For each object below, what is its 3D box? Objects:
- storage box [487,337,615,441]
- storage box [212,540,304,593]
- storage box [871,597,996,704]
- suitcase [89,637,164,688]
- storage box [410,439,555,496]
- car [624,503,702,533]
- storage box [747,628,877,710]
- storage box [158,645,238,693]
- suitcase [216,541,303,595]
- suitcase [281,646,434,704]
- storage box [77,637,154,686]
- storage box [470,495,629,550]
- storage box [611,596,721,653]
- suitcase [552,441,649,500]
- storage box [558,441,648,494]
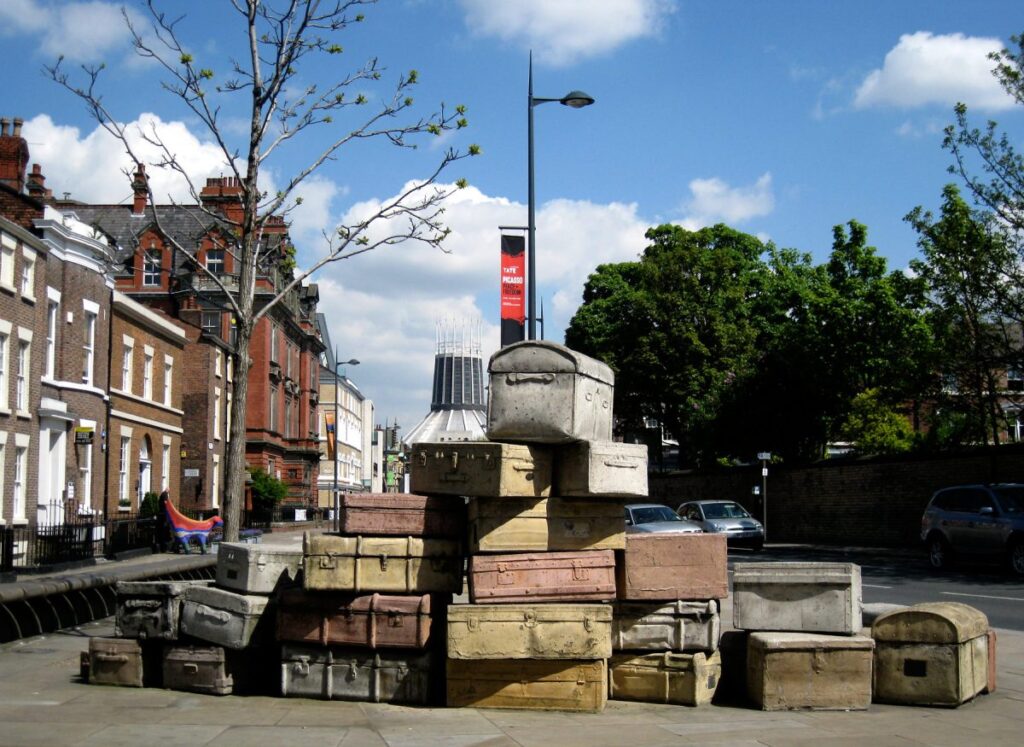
[{"bbox_3d":[0.627,0.342,20.927,1.506,1.360,2.037,1,-6,21],"label":"storage box"},{"bbox_3d":[-3.816,2.847,20.328,0.776,0.476,0.988,1,-5,37],"label":"storage box"},{"bbox_3d":[6.084,4.022,19.561,1.789,1.422,0.862,4,-9,-25],"label":"storage box"},{"bbox_3d":[-5.713,4.269,20.153,0.801,0.612,0.813,1,-5,-2],"label":"suitcase"},{"bbox_3d":[-0.428,1.395,19.617,2.002,0.803,0.746,0,-8,0],"label":"storage box"},{"bbox_3d":[3.634,3.506,33.655,1.102,0.811,2.370,0,-9,-12],"label":"car"},{"bbox_3d":[4.182,4.127,19.458,1.189,0.740,1.199,2,-8,-3],"label":"storage box"},{"bbox_3d":[-4.579,4.336,20.234,1.012,0.657,0.662,4,-8,4],"label":"storage box"},{"bbox_3d":[-3.782,2.872,20.401,0.875,0.427,0.878,2,-2,-5],"label":"suitcase"},{"bbox_3d":[-2.237,4.327,19.628,2.159,0.781,0.191,-1,-8,7],"label":"suitcase"},{"bbox_3d":[-5.832,4.259,20.134,0.723,0.555,0.734,0,-6,-2],"label":"storage box"},{"bbox_3d":[0.569,2.026,20.215,2.118,0.770,1.530,0,11,4],"label":"storage box"},{"bbox_3d":[2.190,3.622,19.610,1.068,0.549,0.886,-2,-8,21],"label":"storage box"},{"bbox_3d":[1.271,1.396,19.656,0.977,0.597,0.975,0,-6,2],"label":"suitcase"},{"bbox_3d":[1.261,1.437,20.028,1.539,0.691,1.546,1,-7,-3],"label":"storage box"}]
